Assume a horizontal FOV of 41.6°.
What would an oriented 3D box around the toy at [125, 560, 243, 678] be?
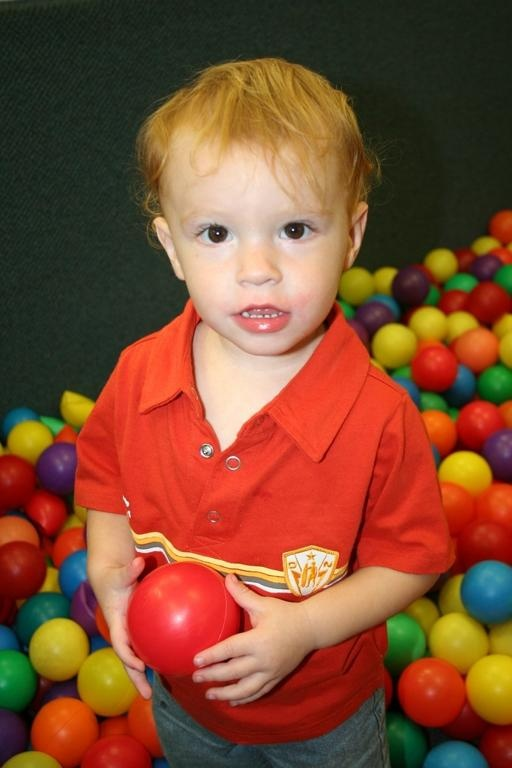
[{"bbox_3d":[-0.087,0.276,0.802,0.137,0.129,0.134,0,1,-39],"label":"toy"}]
